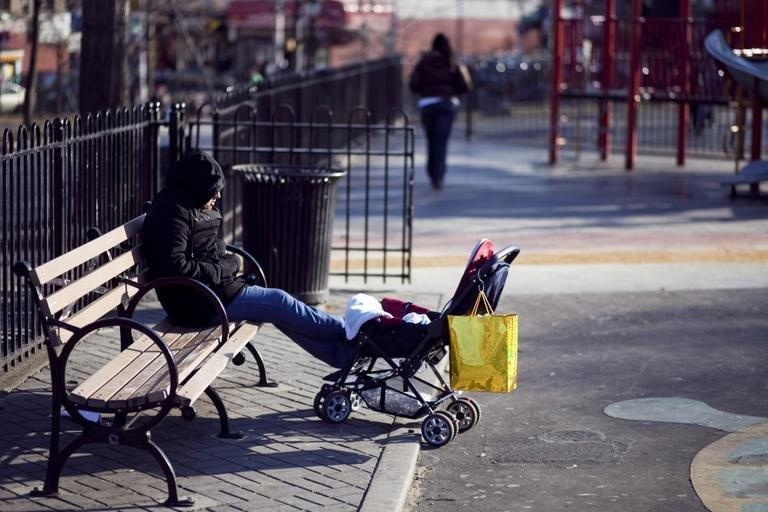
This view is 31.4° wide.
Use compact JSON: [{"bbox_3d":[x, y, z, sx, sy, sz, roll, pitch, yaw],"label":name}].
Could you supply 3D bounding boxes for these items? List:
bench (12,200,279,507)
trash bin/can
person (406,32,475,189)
[{"bbox_3d":[-2.306,0.840,12.891,1.983,2.187,2.372,1,9,-1],"label":"bench"},{"bbox_3d":[-1.353,-0.280,15.717,1.466,1.624,1.406,0,11,-9],"label":"trash bin/can"},{"bbox_3d":[0.923,-2.290,22.842,0.975,2.494,0.885,1,9,1],"label":"person"}]
